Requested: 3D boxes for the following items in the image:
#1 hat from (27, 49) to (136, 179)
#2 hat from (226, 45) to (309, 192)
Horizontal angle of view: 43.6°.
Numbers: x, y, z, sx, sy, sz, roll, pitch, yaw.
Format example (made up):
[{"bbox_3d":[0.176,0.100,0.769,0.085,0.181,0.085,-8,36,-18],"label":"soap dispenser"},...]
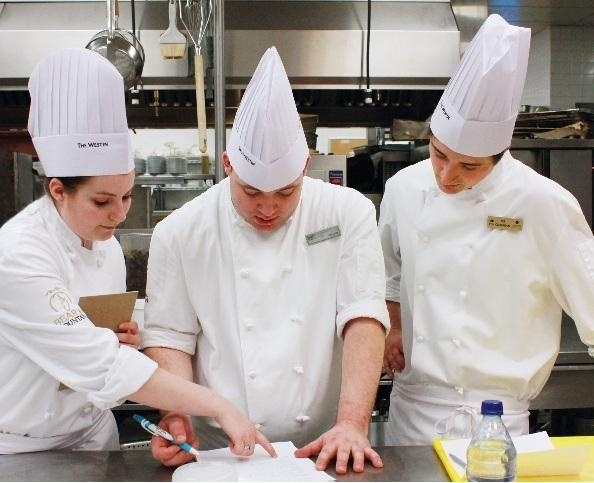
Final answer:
[{"bbox_3d":[-0.596,-0.331,2.129,0.277,0.287,0.338,-7,-8,-5],"label":"hat"},{"bbox_3d":[-0.074,-0.314,2.010,0.225,0.391,0.190,2,7,-1],"label":"hat"}]
